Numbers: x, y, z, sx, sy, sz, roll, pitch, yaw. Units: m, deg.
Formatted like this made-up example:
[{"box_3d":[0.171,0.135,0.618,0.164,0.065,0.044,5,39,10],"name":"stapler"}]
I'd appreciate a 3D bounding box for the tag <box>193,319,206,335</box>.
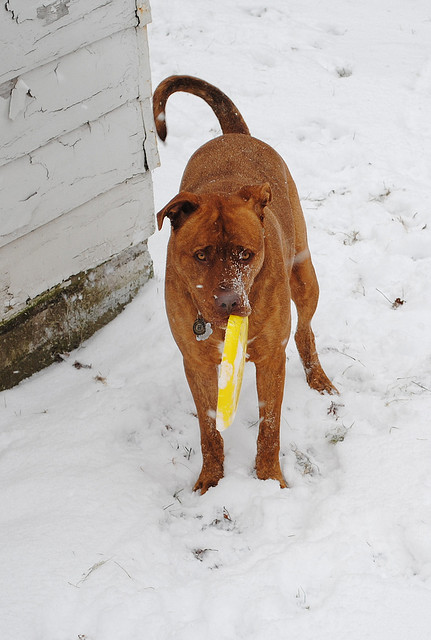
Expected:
[{"box_3d":[-0.086,0.035,4.018,0.056,0.066,0.063,-15,42,-14],"name":"tag"}]
